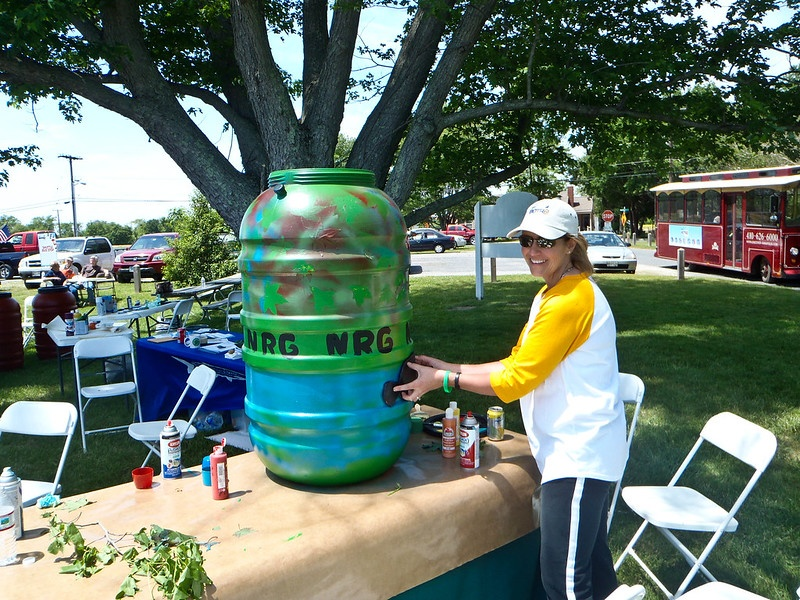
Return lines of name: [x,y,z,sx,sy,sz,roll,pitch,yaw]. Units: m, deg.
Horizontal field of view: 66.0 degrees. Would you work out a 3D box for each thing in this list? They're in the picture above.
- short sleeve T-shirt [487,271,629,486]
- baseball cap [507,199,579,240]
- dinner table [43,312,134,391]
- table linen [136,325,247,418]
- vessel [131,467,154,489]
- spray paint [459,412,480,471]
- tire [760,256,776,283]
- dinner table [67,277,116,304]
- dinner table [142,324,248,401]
short sleeve T-shirt: [0.685,0.402,3.440,0.936,1.223,0.858,3,-3,7]
baseball cap: [0.752,-0.384,3.021,0.281,0.148,0.198,-1,3,-44]
dinner table: [-4.260,0.909,8.673,0.904,0.923,1.023,3,7,45]
table linen: [-2.435,0.917,7.347,1.579,0.754,1.032,1,3,32]
vessel: [-1.294,0.889,3.061,0.105,0.082,0.114,-1,-8,-2]
spray paint: [0.375,0.722,3.139,0.118,0.272,0.118,-2,-1,19]
tire: [10.958,-0.906,18.010,0.316,0.831,0.849,1,-1,0]
dinner table: [-9.738,-0.398,19.317,1.201,0.760,7.194,-2,6,-27]
dinner table: [-2.332,0.735,7.079,0.900,0.284,1.211,15,-6,-31]
